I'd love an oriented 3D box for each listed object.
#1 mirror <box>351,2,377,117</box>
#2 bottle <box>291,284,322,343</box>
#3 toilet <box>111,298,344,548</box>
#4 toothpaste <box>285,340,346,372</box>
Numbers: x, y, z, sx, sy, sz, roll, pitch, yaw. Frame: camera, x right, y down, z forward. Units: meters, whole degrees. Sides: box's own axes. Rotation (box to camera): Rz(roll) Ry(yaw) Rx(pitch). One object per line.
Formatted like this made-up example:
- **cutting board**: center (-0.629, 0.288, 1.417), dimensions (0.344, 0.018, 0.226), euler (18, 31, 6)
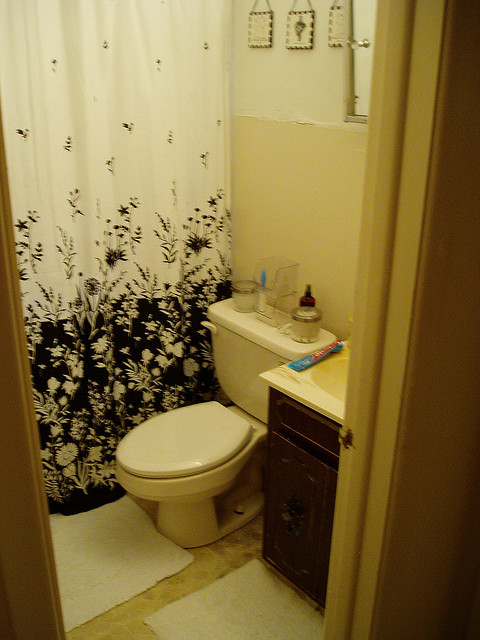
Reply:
- **mirror**: center (0.346, -0.736, 1.475), dimensions (0.083, 0.297, 0.064), euler (13, 25, 35)
- **bottle**: center (0.236, -0.017, 1.821), dimensions (0.113, 0.200, 0.114), euler (1, 30, -1)
- **toilet**: center (-0.111, 0.440, 2.048), dimensions (0.824, 0.813, 0.554), euler (-14, 28, -33)
- **toothpaste**: center (0.231, 0.117, 1.651), dimensions (0.073, 0.041, 0.259), euler (17, 27, 36)
